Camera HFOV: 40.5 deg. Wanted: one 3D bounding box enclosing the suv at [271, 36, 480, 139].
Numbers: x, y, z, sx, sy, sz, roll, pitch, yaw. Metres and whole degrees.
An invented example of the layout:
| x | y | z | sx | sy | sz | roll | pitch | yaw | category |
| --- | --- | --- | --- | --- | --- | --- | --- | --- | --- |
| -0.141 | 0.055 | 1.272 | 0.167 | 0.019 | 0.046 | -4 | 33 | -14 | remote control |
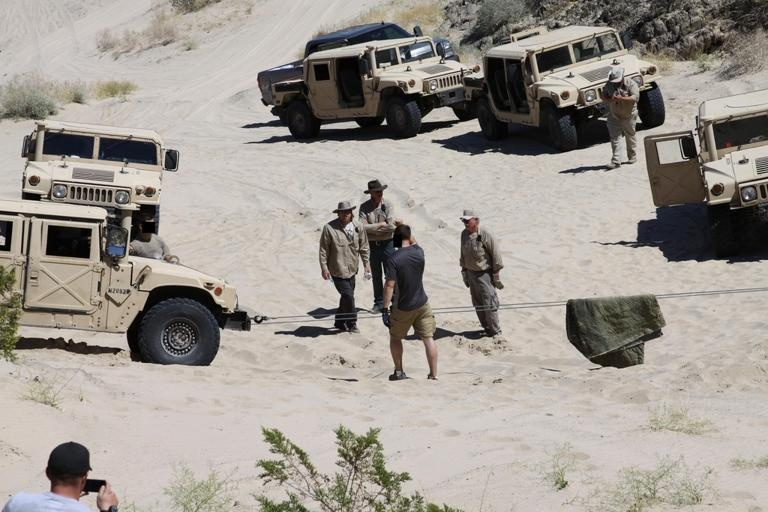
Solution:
| x | y | z | sx | sy | sz | roll | pitch | yaw | category |
| --- | --- | --- | --- | --- | --- | --- | --- | --- | --- |
| -0.606 | -4.126 | 26.358 | 4.118 | 1.767 | 2.528 | 1 | 15 | 22 | suv |

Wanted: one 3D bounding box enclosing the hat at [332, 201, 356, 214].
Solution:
| x | y | z | sx | sy | sz | roll | pitch | yaw | category |
| --- | --- | --- | --- | --- | --- | --- | --- | --- | --- |
| -0.647 | -0.834 | 17.815 | 0.372 | 0.139 | 0.403 | -4 | -7 | -8 | hat |

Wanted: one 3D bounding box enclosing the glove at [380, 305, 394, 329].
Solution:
| x | y | z | sx | sy | sz | roll | pitch | yaw | category |
| --- | --- | --- | --- | --- | --- | --- | --- | --- | --- |
| 0.045 | 0.876 | 15.016 | 0.201 | 0.260 | 0.096 | 3 | 1 | -25 | glove |

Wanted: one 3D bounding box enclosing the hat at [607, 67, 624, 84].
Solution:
| x | y | z | sx | sy | sz | roll | pitch | yaw | category |
| --- | --- | --- | --- | --- | --- | --- | --- | --- | --- |
| 4.743 | -3.702 | 21.376 | 0.311 | 0.338 | 0.523 | -4 | 3 | 12 | hat |

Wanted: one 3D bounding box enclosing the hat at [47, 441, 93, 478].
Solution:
| x | y | z | sx | sy | sz | roll | pitch | yaw | category |
| --- | --- | --- | --- | --- | --- | --- | --- | --- | --- |
| -3.135 | 2.014 | 10.579 | 0.434 | 0.318 | 0.609 | 5 | 3 | -5 | hat |

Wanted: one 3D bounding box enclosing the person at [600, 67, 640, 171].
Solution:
| x | y | z | sx | sy | sz | roll | pitch | yaw | category |
| --- | --- | --- | --- | --- | --- | --- | --- | --- | --- |
| 4.886 | -2.886 | 21.502 | 0.744 | 2.129 | 1.040 | -4 | 3 | 13 | person |

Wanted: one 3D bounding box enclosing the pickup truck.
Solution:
| x | y | z | sx | sy | sz | roll | pitch | yaw | category |
| --- | --- | --- | --- | --- | --- | --- | --- | --- | --- |
| -0.715 | -4.554 | 28.099 | 4.792 | 2.091 | 2.592 | 3 | 21 | 24 | pickup truck |

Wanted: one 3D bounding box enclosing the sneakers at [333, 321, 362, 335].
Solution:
| x | y | z | sx | sy | sz | roll | pitch | yaw | category |
| --- | --- | --- | --- | --- | --- | --- | --- | --- | --- |
| -0.580 | 1.155 | 16.933 | 0.456 | 0.192 | 0.156 | 7 | 13 | 32 | sneakers |

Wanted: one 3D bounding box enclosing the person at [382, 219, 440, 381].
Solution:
| x | y | z | sx | sy | sz | roll | pitch | yaw | category |
| --- | --- | --- | --- | --- | --- | --- | --- | --- | --- |
| 0.355 | 0.675 | 15.033 | 0.728 | 2.282 | 0.579 | -5 | 3 | -1 | person |

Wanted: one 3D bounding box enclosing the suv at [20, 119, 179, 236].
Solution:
| x | y | z | sx | sy | sz | roll | pitch | yaw | category |
| --- | --- | --- | --- | --- | --- | --- | --- | --- | --- |
| -5.290 | -1.371 | 19.165 | 2.599 | 1.981 | 4.040 | 5 | 8 | -10 | suv |

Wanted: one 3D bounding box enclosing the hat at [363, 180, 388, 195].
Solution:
| x | y | z | sx | sy | sz | roll | pitch | yaw | category |
| --- | --- | --- | --- | --- | --- | --- | --- | --- | --- |
| -0.227 | -1.092 | 16.704 | 0.417 | 0.162 | 0.355 | -15 | -7 | 40 | hat |

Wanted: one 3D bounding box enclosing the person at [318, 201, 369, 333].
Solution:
| x | y | z | sx | sy | sz | roll | pitch | yaw | category |
| --- | --- | --- | --- | --- | --- | --- | --- | --- | --- |
| -0.588 | 0.191 | 16.604 | 0.797 | 2.101 | 0.899 | -5 | 3 | -1 | person |

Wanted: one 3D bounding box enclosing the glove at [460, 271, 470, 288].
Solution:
| x | y | z | sx | sy | sz | roll | pitch | yaw | category |
| --- | --- | --- | --- | --- | --- | --- | --- | --- | --- |
| 1.307 | 0.352 | 16.561 | 0.087 | 0.252 | 0.182 | -21 | 12 | 0 | glove |

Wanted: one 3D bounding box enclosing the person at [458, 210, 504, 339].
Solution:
| x | y | z | sx | sy | sz | roll | pitch | yaw | category |
| --- | --- | --- | --- | --- | --- | --- | --- | --- | --- |
| 1.550 | 0.264 | 16.382 | 0.639 | 2.015 | 0.630 | -4 | 3 | 4 | person |

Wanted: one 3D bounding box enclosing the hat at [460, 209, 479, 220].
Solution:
| x | y | z | sx | sy | sz | roll | pitch | yaw | category |
| --- | --- | --- | --- | --- | --- | --- | --- | --- | --- |
| 1.330 | -0.639 | 16.110 | 0.244 | 0.137 | 0.183 | 2 | -2 | -23 | hat |

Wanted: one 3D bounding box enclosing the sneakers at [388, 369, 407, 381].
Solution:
| x | y | z | sx | sy | sz | roll | pitch | yaw | category |
| --- | --- | --- | --- | --- | --- | --- | --- | --- | --- |
| 0.216 | 1.736 | 15.235 | 0.308 | 0.209 | 0.107 | -4 | 6 | -2 | sneakers |

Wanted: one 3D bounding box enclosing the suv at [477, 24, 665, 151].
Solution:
| x | y | z | sx | sy | sz | roll | pitch | yaw | category |
| --- | --- | --- | --- | --- | --- | --- | --- | --- | --- |
| 3.913 | -3.916 | 23.857 | 2.980 | 2.167 | 4.579 | -18 | 19 | -15 | suv |

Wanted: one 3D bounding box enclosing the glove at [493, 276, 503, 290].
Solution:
| x | y | z | sx | sy | sz | roll | pitch | yaw | category |
| --- | --- | --- | --- | --- | --- | --- | --- | --- | --- |
| 1.798 | 0.387 | 16.345 | 0.079 | 0.215 | 0.160 | -26 | 34 | -14 | glove |
